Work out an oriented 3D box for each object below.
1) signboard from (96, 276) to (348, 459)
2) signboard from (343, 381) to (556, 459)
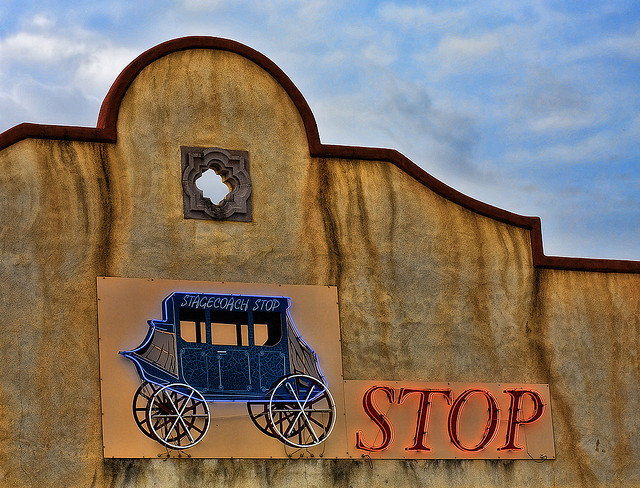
[{"bbox_3d":[-1.579,1.960,28.493,3.945,2.860,0.417,2,-9,-16],"label":"signboard"},{"bbox_3d":[2.126,2.876,29.491,3.643,1.266,0.223,3,-9,-20],"label":"signboard"}]
